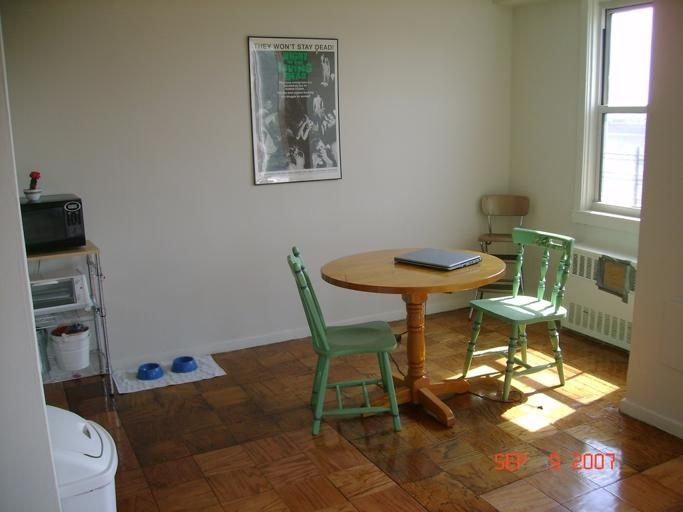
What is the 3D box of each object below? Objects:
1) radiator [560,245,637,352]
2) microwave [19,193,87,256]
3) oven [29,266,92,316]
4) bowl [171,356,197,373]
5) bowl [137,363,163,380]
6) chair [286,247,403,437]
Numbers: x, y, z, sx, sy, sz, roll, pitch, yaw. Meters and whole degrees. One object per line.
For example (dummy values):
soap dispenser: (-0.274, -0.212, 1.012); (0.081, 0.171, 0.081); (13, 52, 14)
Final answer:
radiator: (2.149, 0.341, 4.071); (0.249, 0.673, 0.747); (-14, 21, -28)
microwave: (-2.011, -0.236, 3.562); (0.612, 0.437, 0.448); (-7, 10, -35)
oven: (-2.066, 0.277, 3.504); (0.440, 0.211, 0.329); (-10, 10, -42)
bowl: (-1.276, 0.886, 3.990); (0.146, 0.055, 0.140); (2, 7, 0)
bowl: (-1.512, 0.918, 3.887); (0.180, 0.097, 0.160); (1, 16, 22)
chair: (0.039, 0.486, 3.208); (0.632, 1.212, 0.619); (-7, 15, -6)
